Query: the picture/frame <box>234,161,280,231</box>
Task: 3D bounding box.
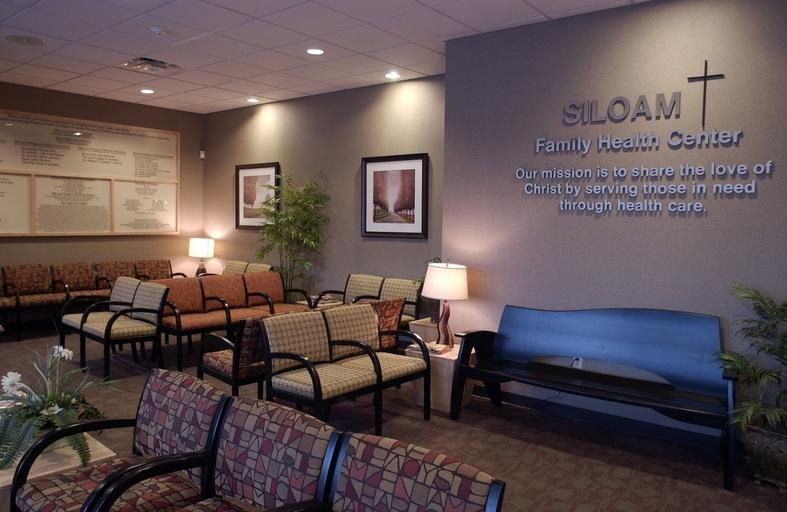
[{"bbox_3d":[-2.761,-1.188,10.309,1.285,1.361,0.176,7,13,32],"label":"picture/frame"}]
